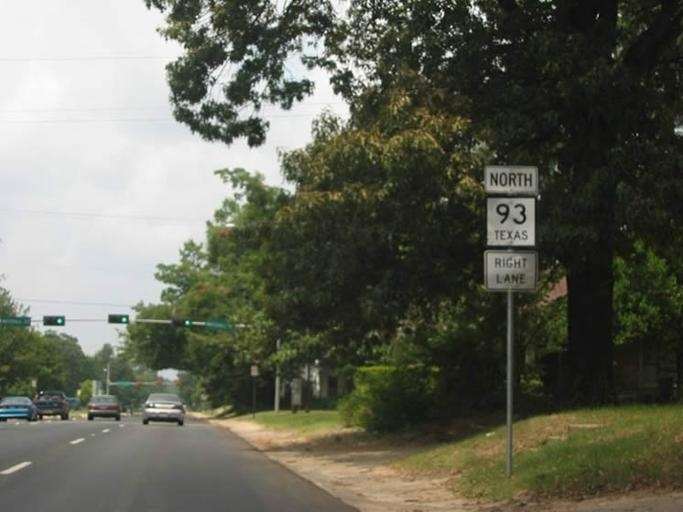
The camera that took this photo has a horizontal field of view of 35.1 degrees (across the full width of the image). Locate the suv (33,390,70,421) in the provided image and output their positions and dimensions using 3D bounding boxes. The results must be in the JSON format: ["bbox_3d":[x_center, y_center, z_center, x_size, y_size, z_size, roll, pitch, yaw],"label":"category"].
[{"bbox_3d":[-17.393,8.868,65.643,1.552,1.488,3.113,0,-18,-3],"label":"suv"}]

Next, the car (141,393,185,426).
[{"bbox_3d":[-8.175,7.076,49.641,1.811,1.659,1.871,2,-14,-12],"label":"car"}]

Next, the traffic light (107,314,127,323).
[{"bbox_3d":[-11.283,3.164,54.217,1.031,0.780,0.721,1,3,-5],"label":"traffic light"}]

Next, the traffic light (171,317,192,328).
[{"bbox_3d":[-9.338,3.865,62.715,0.899,0.588,0.676,5,-7,-14],"label":"traffic light"}]

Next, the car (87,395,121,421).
[{"bbox_3d":[-12.625,8.082,57.454,1.589,1.462,1.622,1,-14,-12],"label":"car"}]
